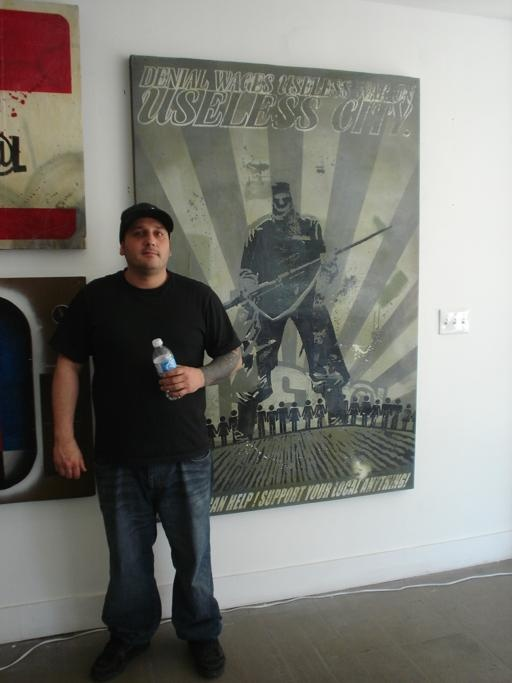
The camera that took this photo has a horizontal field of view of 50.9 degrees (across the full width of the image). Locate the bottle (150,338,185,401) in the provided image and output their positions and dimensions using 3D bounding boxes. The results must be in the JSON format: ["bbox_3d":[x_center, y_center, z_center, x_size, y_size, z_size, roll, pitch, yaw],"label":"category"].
[{"bbox_3d":[-0.286,0.052,1.688,0.077,0.122,0.131,-1,4,-8],"label":"bottle"}]

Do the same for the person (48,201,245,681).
[{"bbox_3d":[-0.389,0.330,1.848,0.642,1.588,0.355,0,3,7],"label":"person"}]
